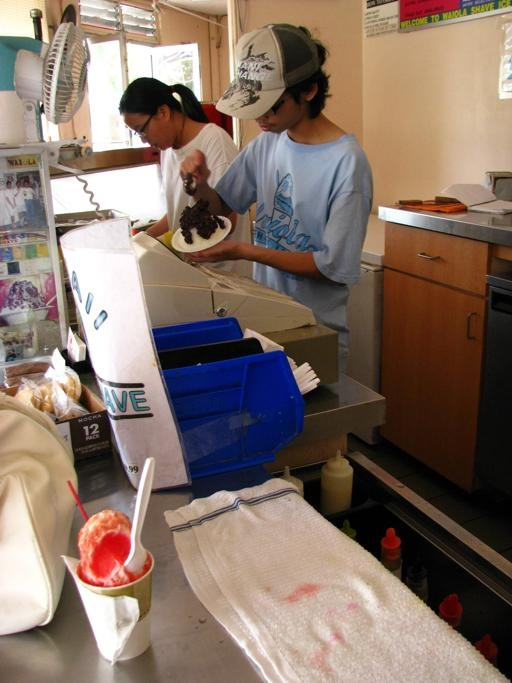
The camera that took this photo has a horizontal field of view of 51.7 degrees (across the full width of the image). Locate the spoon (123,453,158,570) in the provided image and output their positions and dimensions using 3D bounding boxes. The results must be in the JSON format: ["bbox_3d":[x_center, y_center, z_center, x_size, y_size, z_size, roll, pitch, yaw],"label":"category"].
[{"bbox_3d":[-0.117,0.168,0.526,0.036,0.115,0.083,-6,11,-13],"label":"spoon"}]

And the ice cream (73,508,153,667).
[{"bbox_3d":[-0.147,0.246,0.543,0.087,0.140,0.092,-5,6,5],"label":"ice cream"}]

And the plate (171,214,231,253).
[{"bbox_3d":[-0.143,-0.275,1.424,0.117,0.029,0.118,-28,52,-8],"label":"plate"}]

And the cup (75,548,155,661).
[{"bbox_3d":[-0.135,0.273,0.520,0.075,0.107,0.060,-7,11,-18],"label":"cup"}]

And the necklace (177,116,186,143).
[{"bbox_3d":[-0.308,-0.855,2.171,0.025,0.068,0.061,8,-2,-5],"label":"necklace"}]
